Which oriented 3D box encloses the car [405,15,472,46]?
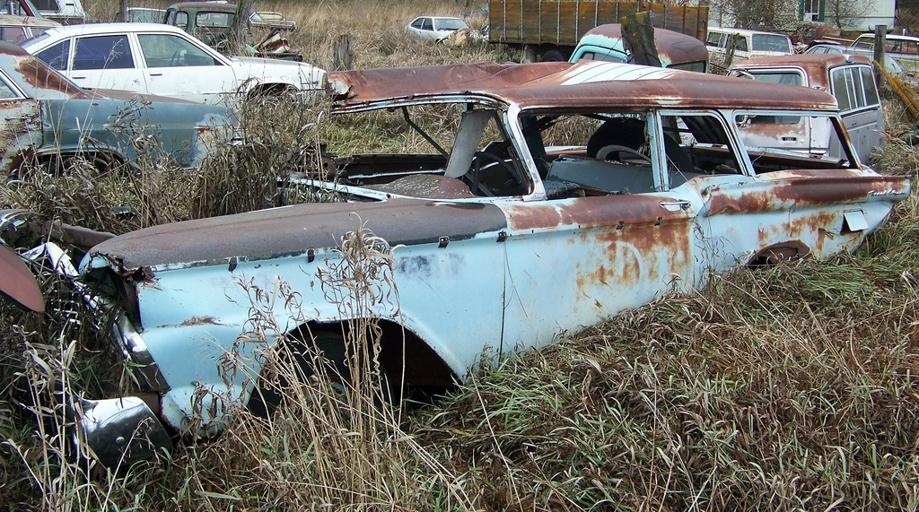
[{"bbox_3d":[-0.829,-7.479,23.411,1.427,0.709,2.301,-16,25,-31],"label":"car"}]
